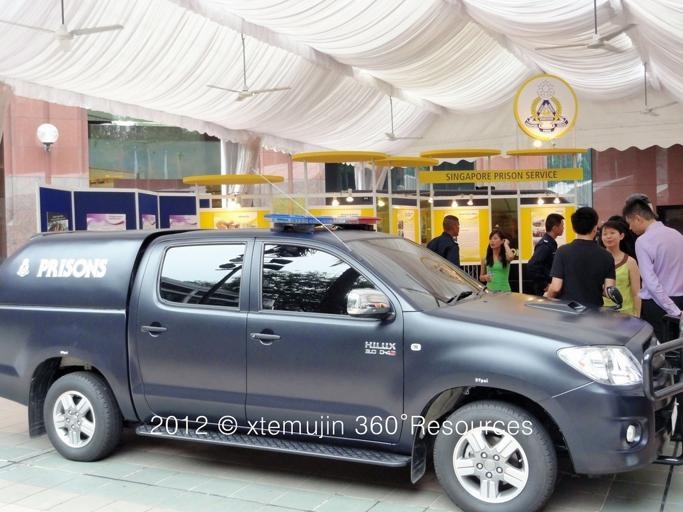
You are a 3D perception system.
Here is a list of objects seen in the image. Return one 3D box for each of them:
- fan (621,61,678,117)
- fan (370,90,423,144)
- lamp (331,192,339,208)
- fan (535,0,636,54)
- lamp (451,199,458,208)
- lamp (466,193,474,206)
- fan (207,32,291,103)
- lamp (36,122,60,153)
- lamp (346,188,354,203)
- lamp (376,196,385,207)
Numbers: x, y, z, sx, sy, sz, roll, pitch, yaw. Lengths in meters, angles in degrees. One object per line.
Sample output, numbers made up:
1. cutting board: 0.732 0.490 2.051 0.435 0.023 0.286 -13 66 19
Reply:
1. fan: 9.119 -5.024 19.433 1.844 1.619 1.927 -1 5 30
2. fan: 1.975 -4.618 21.806 1.709 1.477 1.767 -3 2 31
3. lamp: -0.119 -1.216 13.692 0.162 0.309 0.260 -2 4 0
4. fan: 4.877 -4.644 12.713 1.191 0.901 1.138 3 -7 -20
5. lamp: 2.589 -1.197 14.508 0.148 0.171 0.098 0 4 21
6. lamp: 2.925 -1.264 14.405 0.147 0.230 0.083 0 4 28
7. fan: -2.208 -4.391 14.942 1.733 1.293 1.538 -6 16 -22
8. lamp: -7.486 -3.056 16.204 0.523 0.704 0.512 -4 4 -23
9. lamp: 0.184 -1.314 13.737 0.161 0.324 0.250 -2 4 1
10. lamp: 0.869 -1.187 13.687 0.196 0.222 0.218 -5 -2 29
